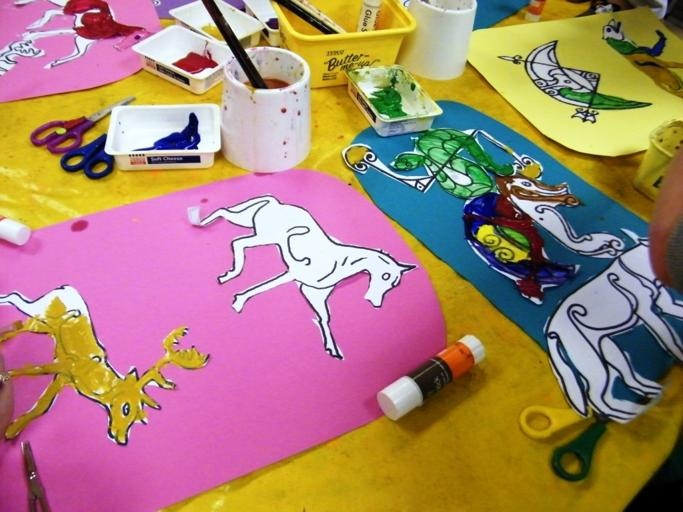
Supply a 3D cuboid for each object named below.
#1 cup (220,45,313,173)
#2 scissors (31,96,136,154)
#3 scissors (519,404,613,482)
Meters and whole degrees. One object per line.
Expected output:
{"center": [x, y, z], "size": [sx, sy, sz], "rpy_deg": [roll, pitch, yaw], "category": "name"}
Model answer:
{"center": [-0.125, -0.242, 1.164], "size": [0.194, 0.208, 0.218], "rpy_deg": [3, 53, -6], "category": "cup"}
{"center": [-0.515, -0.249, 1.157], "size": [0.082, 0.027, 0.164], "rpy_deg": [30, 51, 12], "category": "scissors"}
{"center": [0.327, 0.261, 0.903], "size": [0.120, 0.012, 0.120], "rpy_deg": [30, 60, 16], "category": "scissors"}
